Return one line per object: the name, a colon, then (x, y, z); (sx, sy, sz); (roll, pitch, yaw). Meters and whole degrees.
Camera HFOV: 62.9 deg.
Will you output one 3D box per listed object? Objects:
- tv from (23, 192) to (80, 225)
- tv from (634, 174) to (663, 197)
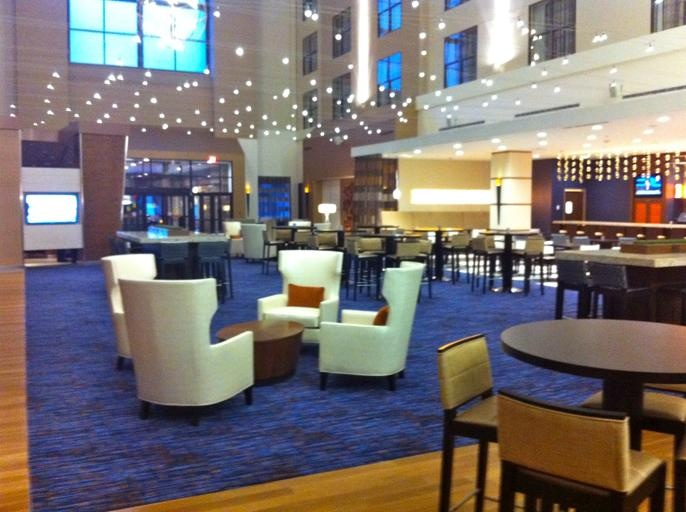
tv: (-6.854, -1.127, 13.337); (1.176, 0.723, 0.264); (-1, 8, -32)
tv: (10.056, -2.302, 18.584); (0.217, 0.687, 1.008); (-2, 6, -14)
